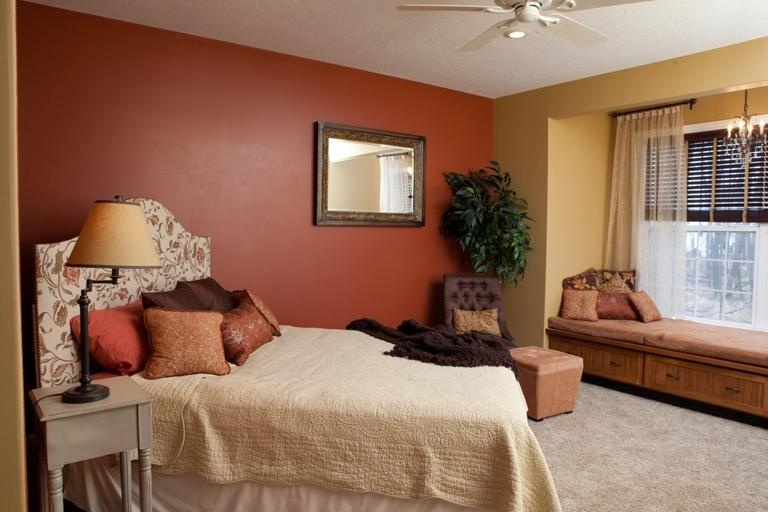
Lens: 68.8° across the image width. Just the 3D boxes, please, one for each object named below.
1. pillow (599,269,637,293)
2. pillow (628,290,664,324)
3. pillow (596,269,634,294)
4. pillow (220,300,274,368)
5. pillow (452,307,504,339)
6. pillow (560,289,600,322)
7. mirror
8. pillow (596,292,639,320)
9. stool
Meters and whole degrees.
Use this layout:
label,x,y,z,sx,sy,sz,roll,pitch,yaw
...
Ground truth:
label,x,y,z,sx,sy,sz,roll,pitch,yaw
pillow,2.721,0.293,6.553,0.307,0.304,0.096,-6,-23,22
pillow,2.902,0.567,6.261,0.331,0.310,0.267,2,6,25
pillow,2.715,0.299,6.554,0.294,0.291,0.091,-6,-24,26
pillow,-1.066,0.585,4.313,0.311,0.279,0.680,23,6,1
pillow,0.976,0.692,5.932,0.466,0.304,0.143,-1,-21,0
pillow,2.227,0.547,6.435,0.418,0.335,0.295,1,6,20
mirror,-0.212,-0.869,5.874,1.200,0.890,0.062,1,0,-36
pillow,2.621,0.574,6.354,0.318,0.147,0.331,-1,7,9
stool,1.516,1.181,5.444,0.668,0.537,0.666,-1,-5,-13
